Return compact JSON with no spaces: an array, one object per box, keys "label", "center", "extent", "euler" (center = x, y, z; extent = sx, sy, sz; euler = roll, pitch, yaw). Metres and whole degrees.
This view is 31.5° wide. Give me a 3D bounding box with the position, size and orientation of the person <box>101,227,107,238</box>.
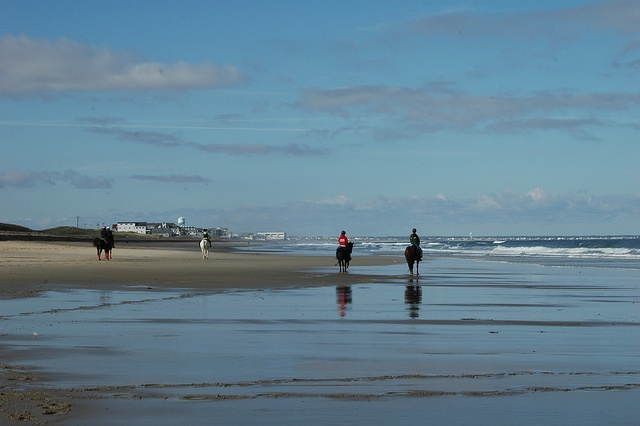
[{"label":"person","center":[-10.996,0.972,57.870],"extent":[0.260,0.653,0.696],"euler":[-2,13,-11]}]
